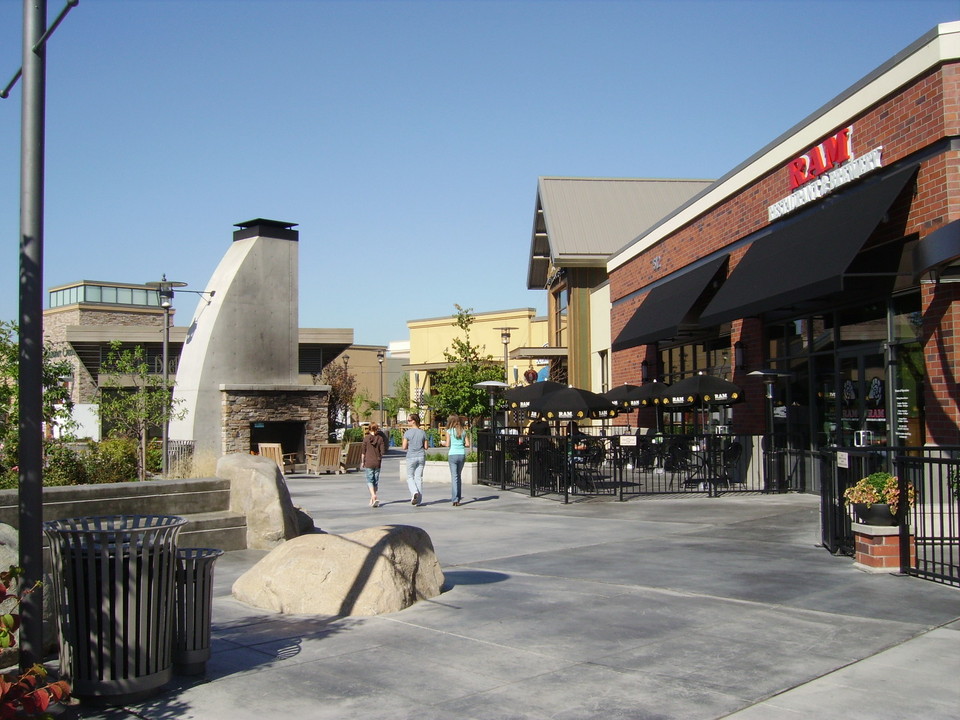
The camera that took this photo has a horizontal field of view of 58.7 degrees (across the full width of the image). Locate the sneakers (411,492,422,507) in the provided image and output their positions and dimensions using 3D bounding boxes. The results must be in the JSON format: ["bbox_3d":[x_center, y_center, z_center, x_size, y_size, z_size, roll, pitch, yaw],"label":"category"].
[{"bbox_3d":[-1.488,3.374,20.373,0.139,0.147,0.354,7,-47,-3],"label":"sneakers"}]

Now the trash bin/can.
[{"bbox_3d":[-3.016,2.136,7.693,1.407,1.318,1.353,0,1,6],"label":"trash bin/can"}]

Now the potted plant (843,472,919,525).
[{"bbox_3d":[5.508,1.906,11.854,0.671,0.536,0.737,0,0,-10],"label":"potted plant"}]

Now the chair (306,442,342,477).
[{"bbox_3d":[-5.685,3.642,31.608,1.180,1.098,0.989,1,-6,-13],"label":"chair"}]
